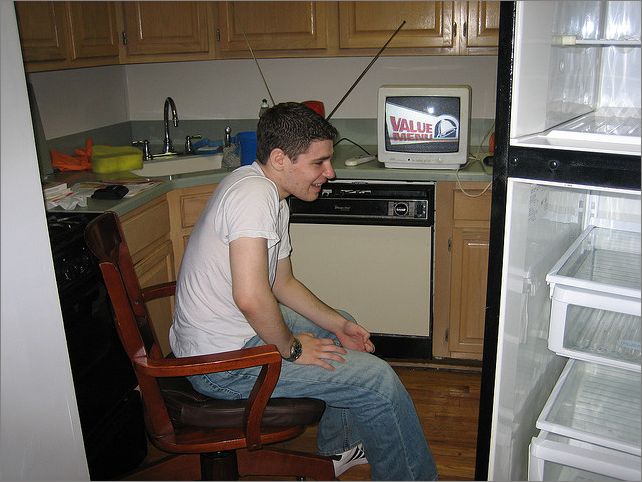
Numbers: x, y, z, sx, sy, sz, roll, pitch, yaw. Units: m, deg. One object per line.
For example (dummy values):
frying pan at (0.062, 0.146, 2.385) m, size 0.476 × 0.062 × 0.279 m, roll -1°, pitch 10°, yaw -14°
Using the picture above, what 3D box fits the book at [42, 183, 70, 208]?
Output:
book at (-1.145, -0.201, 2.170) m, size 0.102 × 0.086 × 0.288 m, roll -8°, pitch 15°, yaw -26°

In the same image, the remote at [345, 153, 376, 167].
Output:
remote at (0.199, -0.461, 2.730) m, size 0.072 × 0.033 × 0.152 m, roll 19°, pitch 28°, yaw 39°

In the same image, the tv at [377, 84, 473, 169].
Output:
tv at (0.514, -0.575, 2.676) m, size 0.576 × 0.560 × 0.389 m, roll 2°, pitch 10°, yaw 12°

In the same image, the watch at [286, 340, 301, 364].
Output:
watch at (-0.085, 0.351, 1.588) m, size 0.026 × 0.062 × 0.062 m, roll 15°, pitch 31°, yaw -22°

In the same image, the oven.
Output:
oven at (0.191, 0.347, 2.896) m, size 0.866 × 0.660 × 1.216 m, roll 3°, pitch 49°, yaw 7°

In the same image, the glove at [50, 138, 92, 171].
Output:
glove at (-1.376, -0.471, 2.758) m, size 0.170 × 0.156 × 0.061 m, roll -3°, pitch -23°, yaw -36°
